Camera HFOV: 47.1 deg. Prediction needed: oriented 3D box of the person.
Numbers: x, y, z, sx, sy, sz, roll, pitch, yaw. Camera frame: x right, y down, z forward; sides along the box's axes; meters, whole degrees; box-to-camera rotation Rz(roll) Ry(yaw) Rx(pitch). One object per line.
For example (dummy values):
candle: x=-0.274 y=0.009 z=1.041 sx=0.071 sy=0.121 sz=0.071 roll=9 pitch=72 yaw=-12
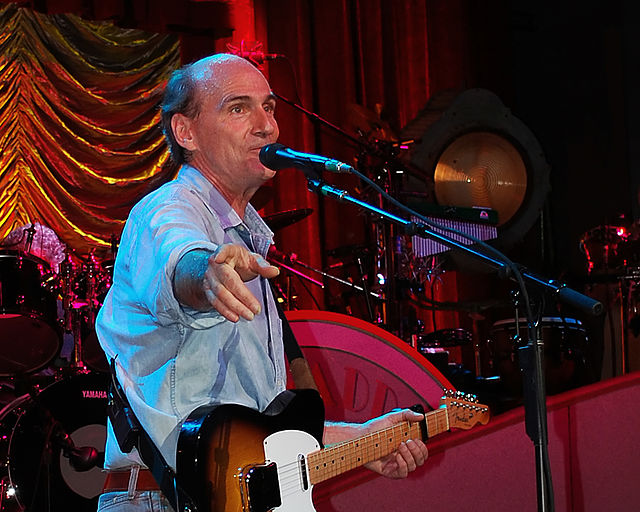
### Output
person: x=-0.507 y=-0.136 z=3.131 sx=0.831 sy=1.899 sz=0.964 roll=0 pitch=-17 yaw=-18

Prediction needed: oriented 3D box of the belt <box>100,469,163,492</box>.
belt: x=-0.843 y=1.000 z=3.280 sx=0.178 sy=0.076 sz=0.148 roll=-3 pitch=-18 yaw=18

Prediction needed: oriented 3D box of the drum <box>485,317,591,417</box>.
drum: x=1.524 y=0.639 z=4.911 sx=0.675 sy=0.699 sz=0.757 roll=1 pitch=-12 yaw=-7
